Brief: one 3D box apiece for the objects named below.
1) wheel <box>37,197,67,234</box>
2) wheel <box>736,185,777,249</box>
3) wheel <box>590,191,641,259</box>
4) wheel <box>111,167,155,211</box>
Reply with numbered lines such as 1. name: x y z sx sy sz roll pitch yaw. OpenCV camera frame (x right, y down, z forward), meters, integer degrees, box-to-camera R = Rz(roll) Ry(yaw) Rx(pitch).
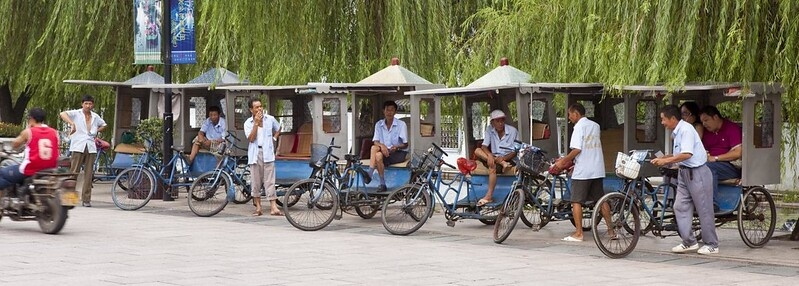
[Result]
1. wheel: -12.003 2.443 25.407 1.490 1.130 0.442 -13 2 29
2. wheel: 12.038 2.503 24.844 2.701 2.022 0.402 5 -5 -21
3. wheel: 7.164 2.673 24.146 1.701 2.204 0.446 1 0 -11
4. wheel: -10.265 1.748 28.507 1.712 1.623 0.331 1 0 4
